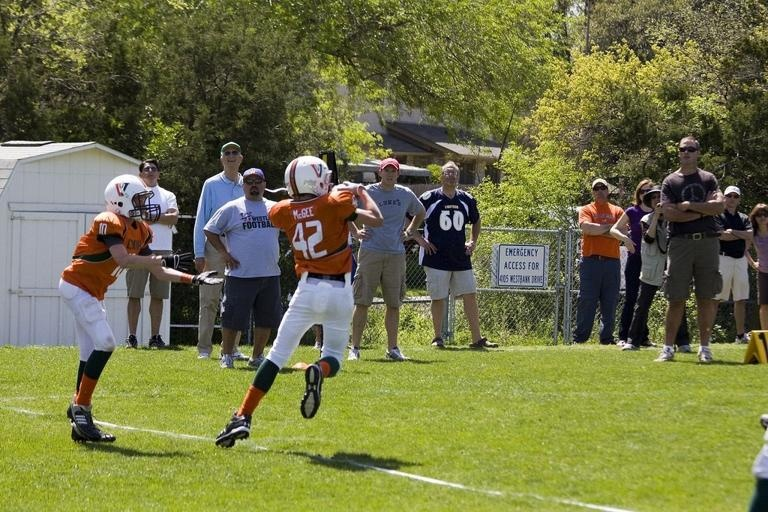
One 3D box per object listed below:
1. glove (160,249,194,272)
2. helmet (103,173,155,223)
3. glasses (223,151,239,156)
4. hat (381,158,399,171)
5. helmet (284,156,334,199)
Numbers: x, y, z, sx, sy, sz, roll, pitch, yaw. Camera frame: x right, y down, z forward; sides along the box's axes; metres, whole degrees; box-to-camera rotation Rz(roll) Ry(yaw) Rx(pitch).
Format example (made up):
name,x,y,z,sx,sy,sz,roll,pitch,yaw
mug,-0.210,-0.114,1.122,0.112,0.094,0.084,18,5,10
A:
name,x,y,z,sx,sy,sz,roll,pitch,yaw
glove,-2.484,0.050,11.562,0.387,0.165,0.387,0,1,1
helmet,-3.021,-0.725,11.393,0.630,0.541,0.461,1,6,-6
glasses,-2.325,-1.594,14.340,0.227,0.084,0.089,-2,13,-10
hat,0.101,-1.452,14.536,0.189,0.152,0.273,5,-8,-1
helmet,-0.856,-0.953,11.089,0.534,0.418,0.401,-13,21,-35
